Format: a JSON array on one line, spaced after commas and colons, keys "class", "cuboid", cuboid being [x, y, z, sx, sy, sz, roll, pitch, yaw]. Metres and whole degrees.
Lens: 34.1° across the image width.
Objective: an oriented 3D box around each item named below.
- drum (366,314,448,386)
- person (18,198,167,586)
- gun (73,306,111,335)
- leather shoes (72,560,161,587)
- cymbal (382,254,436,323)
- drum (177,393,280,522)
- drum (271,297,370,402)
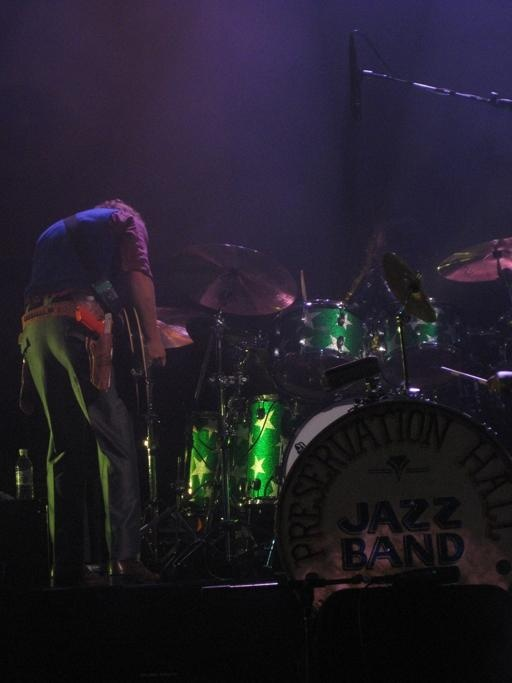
[{"class": "drum", "cuboid": [0.987, 0.089, 4.874, 0.421, 0.144, 0.458, 3, -28, 2]}, {"class": "person", "cuboid": [-0.758, 0.171, 3.900, 0.661, 1.865, 0.339, 1, -14, -16]}, {"class": "gun", "cuboid": [-0.755, -0.099, 3.841, 0.154, 0.077, 0.116, 28, -4, -5]}, {"class": "leather shoes", "cuboid": [-0.621, 1.066, 3.763, 0.386, 0.127, 0.126, -1, -37, -4]}, {"class": "cymbal", "cuboid": [0.647, -0.225, 3.506, 0.181, 0.281, 0.349, -7, -14, 17]}, {"class": "drum", "cuboid": [-0.125, 0.648, 4.860, 0.324, 0.617, 0.700, 6, -16, -32]}, {"class": "drum", "cuboid": [0.375, 0.017, 4.935, 0.547, 0.436, 0.598, 4, -43, 4]}]
